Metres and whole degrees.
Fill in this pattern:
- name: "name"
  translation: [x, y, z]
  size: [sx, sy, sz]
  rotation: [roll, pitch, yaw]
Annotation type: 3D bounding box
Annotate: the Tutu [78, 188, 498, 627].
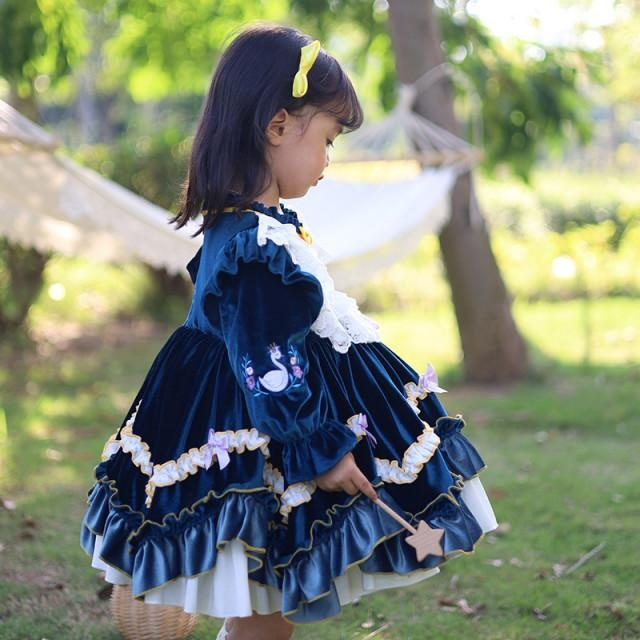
- name: "Tutu"
  translation: [-0.158, 0.313, 4.583]
  size: [1.656, 1.206, 1.484]
  rotation: [-11, 1, 1]
